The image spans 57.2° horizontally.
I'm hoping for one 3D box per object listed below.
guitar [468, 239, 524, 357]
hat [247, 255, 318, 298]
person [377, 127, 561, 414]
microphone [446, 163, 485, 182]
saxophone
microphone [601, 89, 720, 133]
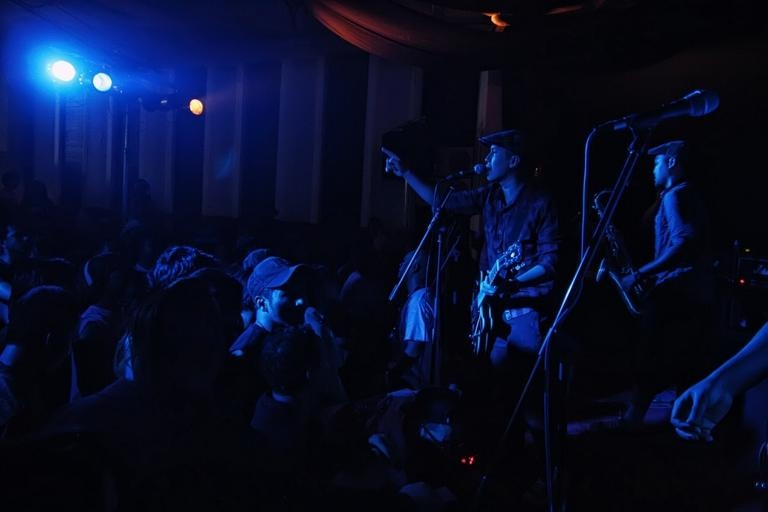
[{"bbox_3d":[0.642,0.243,4.013,0.294,0.643,0.095,1,-2,0],"label":"guitar"},{"bbox_3d":[-0.597,0.109,4.167,0.300,0.220,0.289,13,21,35],"label":"hat"},{"bbox_3d":[0.538,0.130,4.060,0.589,1.635,0.764,-1,6,-31],"label":"person"},{"bbox_3d":[0.457,-0.483,4.038,0.176,0.049,0.055,-13,35,21],"label":"microphone"},{"bbox_3d":[1.269,0.048,3.867,0.304,0.736,0.261,10,36,11],"label":"saxophone"},{"bbox_3d":[1.352,-0.681,3.460,0.544,0.158,0.131,-15,8,12],"label":"microphone"}]
